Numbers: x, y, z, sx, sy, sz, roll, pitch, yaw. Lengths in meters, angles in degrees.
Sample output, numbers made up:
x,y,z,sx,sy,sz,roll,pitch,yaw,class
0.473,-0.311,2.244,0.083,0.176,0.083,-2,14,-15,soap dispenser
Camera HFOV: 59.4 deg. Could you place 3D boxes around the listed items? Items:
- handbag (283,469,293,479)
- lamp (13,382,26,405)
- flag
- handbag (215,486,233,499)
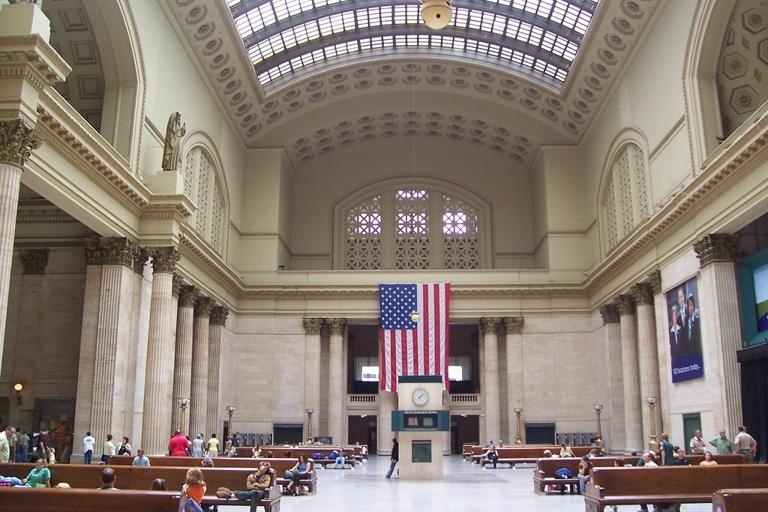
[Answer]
x,y,z,sx,sy,sz,roll,pitch,yaw,class
-3.192,7.250,22.327,0.220,0.214,0.278,0,-19,0,handbag
-15.843,5.917,28.988,0.489,0.969,0.310,0,-20,4,lamp
1.744,4.769,41.032,4.148,6.421,0.956,1,-20,1,flag
-4.328,6.452,18.259,0.486,0.265,0.381,1,-3,-25,handbag
